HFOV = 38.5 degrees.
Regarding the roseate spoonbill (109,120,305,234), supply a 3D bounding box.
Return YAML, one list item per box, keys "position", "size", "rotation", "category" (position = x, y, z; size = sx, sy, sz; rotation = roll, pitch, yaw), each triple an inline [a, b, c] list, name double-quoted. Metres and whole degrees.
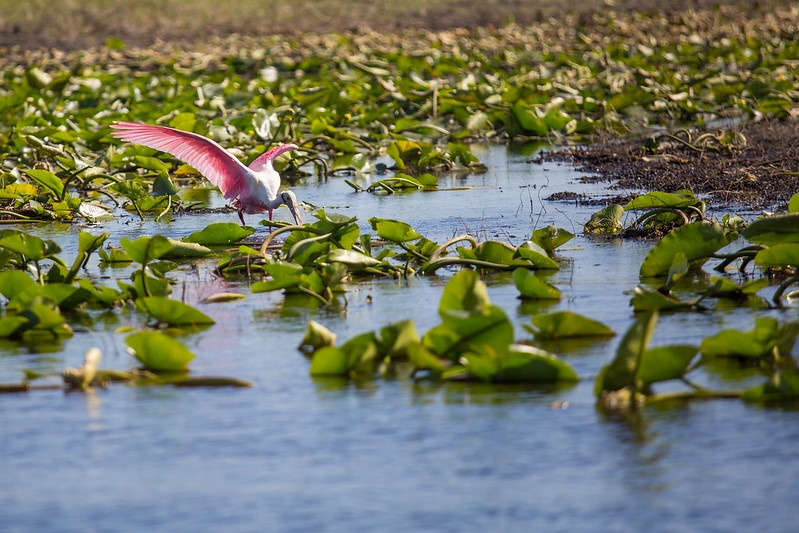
- position: [-0.961, -0.528, 7.560]
  size: [1.564, 0.481, 1.085]
  rotation: [3, 13, -39]
  category: "roseate spoonbill"
